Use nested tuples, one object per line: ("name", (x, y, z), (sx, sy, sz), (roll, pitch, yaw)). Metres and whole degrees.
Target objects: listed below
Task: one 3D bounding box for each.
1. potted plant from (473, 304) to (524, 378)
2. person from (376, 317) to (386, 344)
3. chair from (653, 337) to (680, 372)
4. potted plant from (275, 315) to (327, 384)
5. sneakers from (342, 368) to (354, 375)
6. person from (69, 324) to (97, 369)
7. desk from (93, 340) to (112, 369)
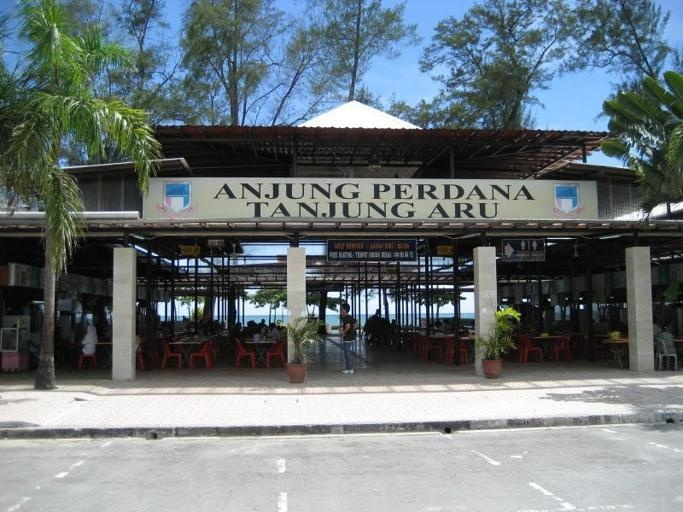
("potted plant", (4.579, 2.415, 18.427), (1.131, 1.985, 1.881), (-5, -8, 31))
("person", (1.975, 3.762, 32.339), (0.486, 1.208, 1.525), (-1, -7, 3))
("chair", (9.953, 2.950, 19.718), (0.635, 0.969, 1.474), (-4, -8, 26))
("potted plant", (-1.251, 2.392, 17.347), (1.407, 1.906, 1.219), (-6, -12, -17))
("sneakers", (0.184, 3.413, 19.107), (0.347, 0.239, 0.130), (3, -9, 4))
("person", (-8.449, 2.941, 21.213), (0.707, 1.402, 2.810), (2, -8, -22))
("desk", (-7.978, 3.259, 21.469), (0.510, 0.477, 0.962), (2, -6, -15))
